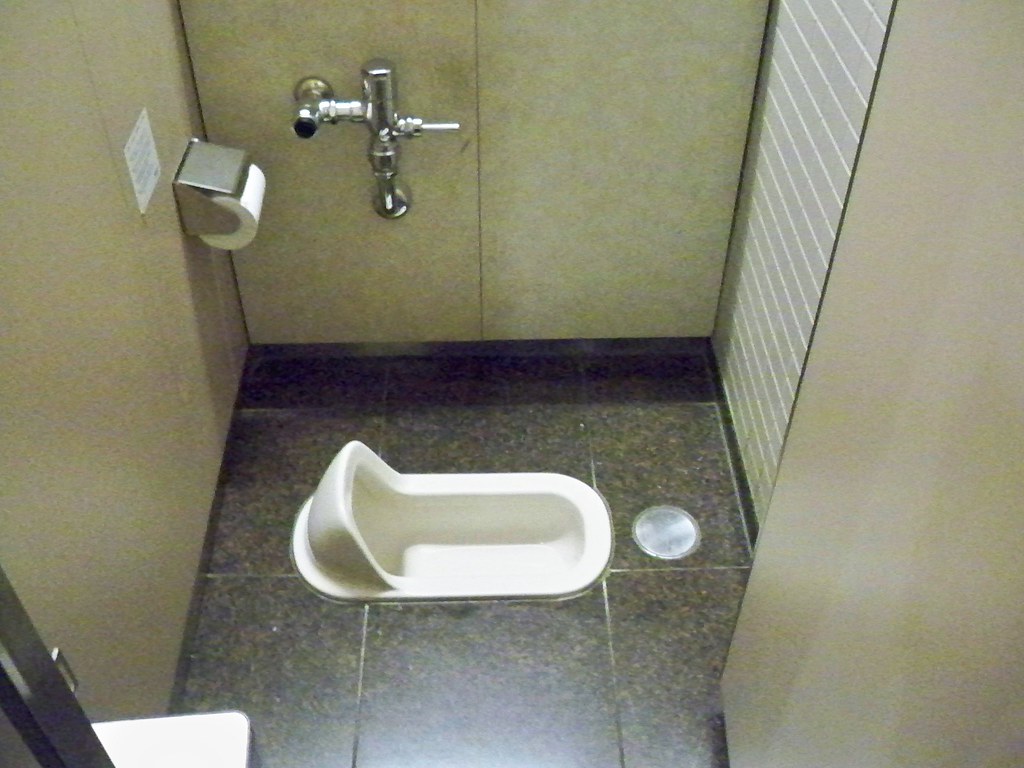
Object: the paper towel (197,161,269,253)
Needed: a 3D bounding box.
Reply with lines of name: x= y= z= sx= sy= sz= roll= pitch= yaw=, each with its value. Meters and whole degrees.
paper towel: x=-0.737 y=-0.485 z=2.466 sx=0.143 sy=0.173 sz=0.230 roll=13 pitch=41 yaw=17
